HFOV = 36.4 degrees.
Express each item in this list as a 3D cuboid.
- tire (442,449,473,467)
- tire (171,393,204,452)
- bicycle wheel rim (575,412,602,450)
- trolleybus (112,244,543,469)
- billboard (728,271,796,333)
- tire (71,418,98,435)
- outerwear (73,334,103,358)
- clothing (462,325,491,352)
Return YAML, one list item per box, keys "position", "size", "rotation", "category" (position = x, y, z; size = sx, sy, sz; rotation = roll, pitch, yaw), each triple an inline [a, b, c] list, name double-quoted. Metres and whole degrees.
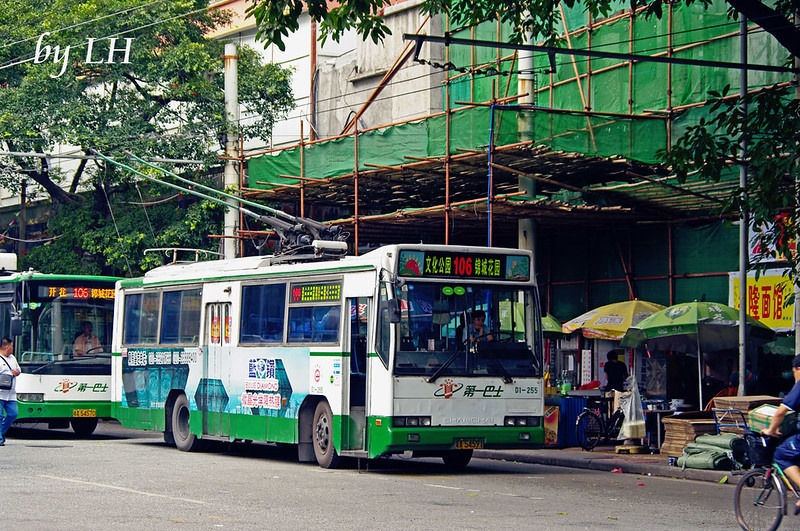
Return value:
- position: [1.152, 3.911, 24.791]
  size: [0.510, 0.529, 0.529]
  rotation: [0, -1, -10]
  category: "tire"
- position: [-4.732, 3.493, 27.187]
  size: [0.461, 1.319, 1.315]
  rotation: [3, -3, -32]
  category: "tire"
- position: [4.263, 3.705, 27.673]
  size: [0.583, 0.913, 0.529]
  rotation: [-1, -7, 9]
  category: "bicycle wheel rim"
- position: [-2.202, 2.004, 27.549]
  size: [3.996, 4.314, 11.939]
  rotation: [3, -5, -38]
  category: "trolleybus"
- position: [8.290, 0.850, 27.837]
  size: [0.174, 1.080, 1.468]
  rotation: [10, -7, -31]
  category: "billboard"
- position: [-8.052, 4.059, 30.974]
  size: [0.645, 0.641, 0.242]
  rotation: [-1, 8, -10]
  category: "tire"
- position: [-7.755, 2.026, 30.139]
  size: [0.912, 0.718, 0.488]
  rotation: [3, -17, -24]
  category: "outerwear"
- position: [1.424, 1.373, 23.248]
  size: [0.394, 0.541, 0.249]
  rotation: [8, -6, -22]
  category: "clothing"
